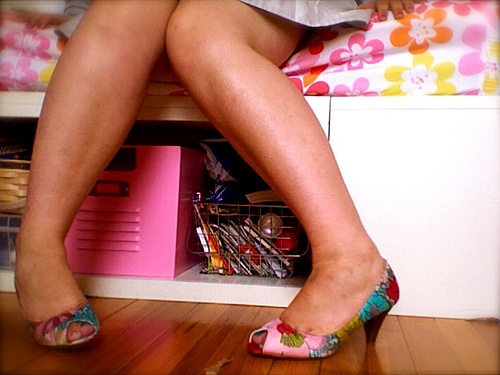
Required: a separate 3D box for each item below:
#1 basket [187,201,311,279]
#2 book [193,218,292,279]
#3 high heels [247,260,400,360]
[{"bbox_3d":[-0.016,0.168,1.166,0.387,0.244,0.224,1,-5,8],"label":"basket"},{"bbox_3d":[-0.027,0.197,1.160,0.226,0.097,0.168,9,-13,12],"label":"book"},{"bbox_3d":[0.132,0.288,0.811,0.348,0.144,0.126,-16,11,-8],"label":"high heels"}]
